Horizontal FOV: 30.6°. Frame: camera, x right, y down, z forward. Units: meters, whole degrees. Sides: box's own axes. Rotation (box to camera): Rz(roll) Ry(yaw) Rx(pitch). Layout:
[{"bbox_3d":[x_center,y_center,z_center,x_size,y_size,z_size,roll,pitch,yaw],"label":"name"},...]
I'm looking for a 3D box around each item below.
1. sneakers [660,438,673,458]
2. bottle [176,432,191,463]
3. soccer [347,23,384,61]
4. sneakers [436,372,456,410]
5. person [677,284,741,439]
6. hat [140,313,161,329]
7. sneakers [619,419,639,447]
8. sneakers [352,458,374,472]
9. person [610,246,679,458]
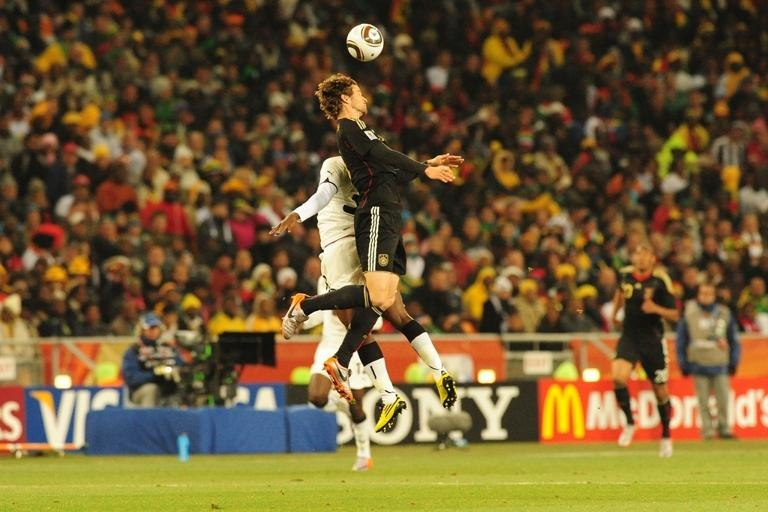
[{"bbox_3d":[4.305,2.921,21.411,0.206,0.289,0.454,-4,-11,10],"label":"sneakers"},{"bbox_3d":[-3.027,2.866,21.158,0.196,0.459,0.642,-1,-11,-8],"label":"bottle"},{"bbox_3d":[-0.272,-3.019,19.770,0.479,0.619,0.428,-3,-11,2],"label":"soccer"},{"bbox_3d":[0.841,1.820,19.208,0.230,0.526,0.256,-17,1,-7],"label":"sneakers"},{"bbox_3d":[5.467,1.760,23.462,0.835,2.503,0.619,2,-12,-23],"label":"person"},{"bbox_3d":[-3.713,1.021,22.312,0.330,0.291,0.277,-1,-11,-9],"label":"hat"},{"bbox_3d":[3.807,2.793,21.982,0.261,0.473,0.200,21,18,10],"label":"sneakers"},{"bbox_3d":[-0.323,3.046,20.564,0.278,0.191,0.323,-2,-11,-1],"label":"sneakers"},{"bbox_3d":[4.029,1.453,21.525,1.105,3.192,0.786,-7,-12,20],"label":"person"}]
